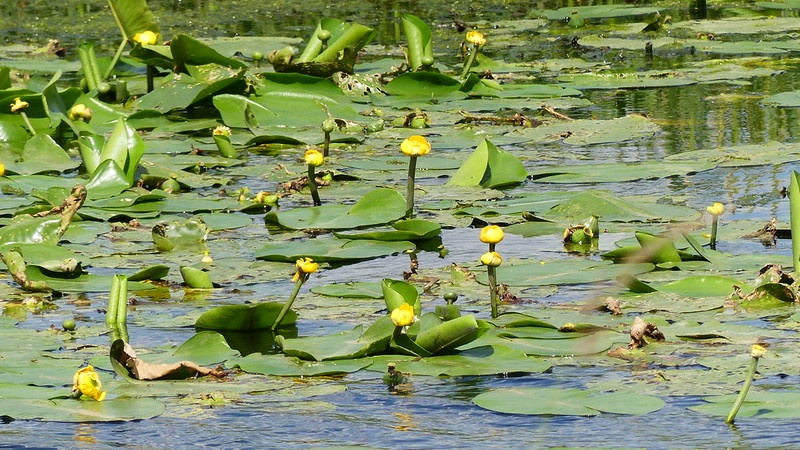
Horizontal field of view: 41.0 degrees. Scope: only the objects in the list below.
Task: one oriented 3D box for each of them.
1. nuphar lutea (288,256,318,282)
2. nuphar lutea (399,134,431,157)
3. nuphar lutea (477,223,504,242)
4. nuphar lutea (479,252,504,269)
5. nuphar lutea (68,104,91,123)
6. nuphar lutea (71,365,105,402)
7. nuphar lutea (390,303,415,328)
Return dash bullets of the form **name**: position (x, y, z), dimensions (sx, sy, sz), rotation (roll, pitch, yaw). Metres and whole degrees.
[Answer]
- **nuphar lutea**: position (-0.462, 0.211, 5.017), dimensions (0.163, 0.062, 0.188), rotation (-1, 0, -3)
- **nuphar lutea**: position (0.076, -0.447, 5.984), dimensions (0.230, 0.078, 0.190), rotation (2, 3, -4)
- **nuphar lutea**: position (0.434, 0.040, 5.154), dimensions (0.142, 0.050, 0.104), rotation (1, 9, 12)
- **nuphar lutea**: position (0.423, 0.168, 5.057), dimensions (0.132, 0.036, 0.094), rotation (-2, 8, -9)
- **nuphar lutea**: position (-2.498, -0.873, 8.318), dimensions (0.160, 0.136, 0.287), rotation (-1, 4, -17)
- **nuphar lutea**: position (-1.340, 0.677, 4.603), dimensions (0.136, 0.151, 0.163), rotation (-1, 5, -14)
- **nuphar lutea**: position (0.011, 0.406, 4.801), dimensions (0.145, 0.093, 0.055), rotation (-4, 5, -1)
